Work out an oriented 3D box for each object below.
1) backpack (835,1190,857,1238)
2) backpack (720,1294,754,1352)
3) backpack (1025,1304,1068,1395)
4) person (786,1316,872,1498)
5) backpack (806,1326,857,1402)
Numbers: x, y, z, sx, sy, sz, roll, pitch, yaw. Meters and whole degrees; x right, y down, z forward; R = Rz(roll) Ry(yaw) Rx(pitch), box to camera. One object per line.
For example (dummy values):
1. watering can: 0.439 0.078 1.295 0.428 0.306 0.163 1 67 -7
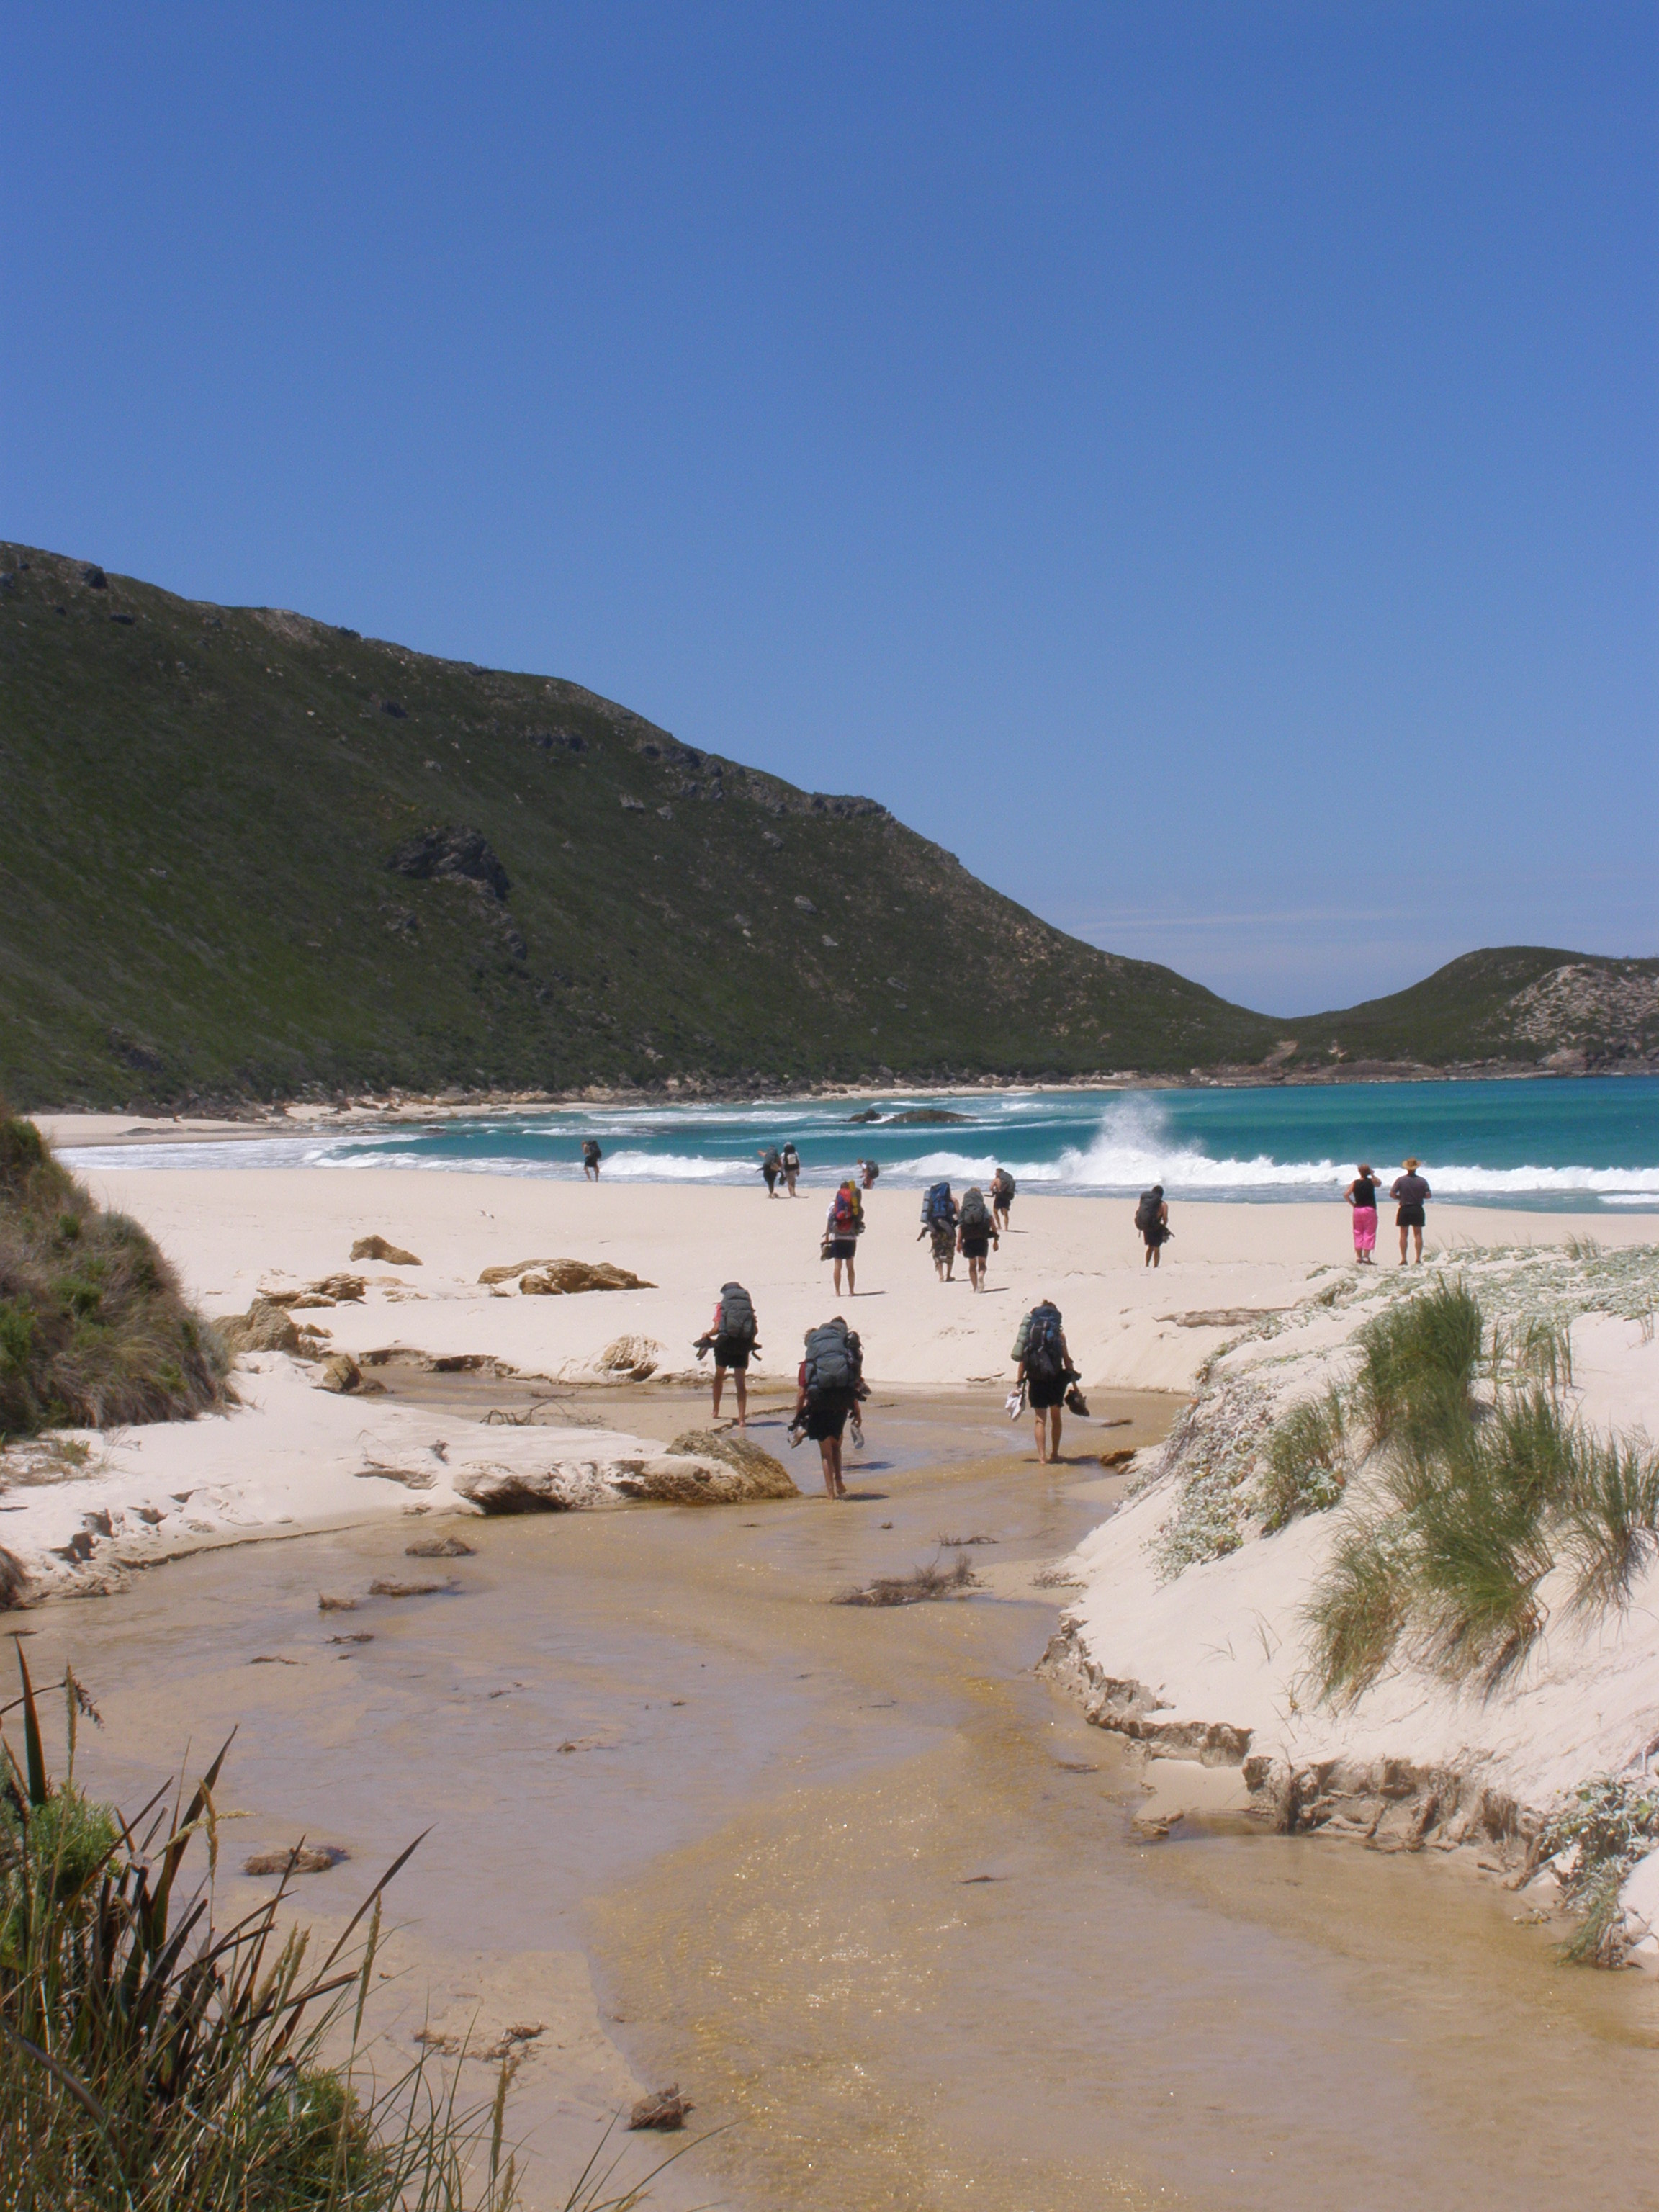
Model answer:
1. backpack: 0.132 1.124 25.390 0.254 0.315 0.495 1 0 -1
2. backpack: -0.701 1.572 17.840 0.246 0.498 0.435 1 1 -3
3. backpack: 1.403 1.593 15.765 0.300 0.419 0.415 1 1 5
4. person: 0.069 1.874 15.253 0.518 1.058 0.421 -2 -4 -5
5. backpack: -0.002 1.616 15.204 0.332 0.413 0.419 0 -44 1
